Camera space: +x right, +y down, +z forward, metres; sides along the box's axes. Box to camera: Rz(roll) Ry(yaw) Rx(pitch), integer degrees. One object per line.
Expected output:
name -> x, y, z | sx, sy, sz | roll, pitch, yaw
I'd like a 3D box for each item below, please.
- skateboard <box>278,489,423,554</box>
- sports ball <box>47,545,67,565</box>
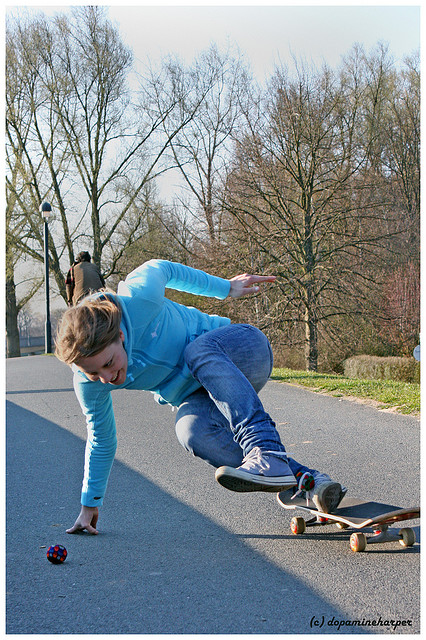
skateboard -> 0.719, 1.023, 3.438 | 0.323, 0.225, 0.845 | 0, -4, -29
sports ball -> -0.768, 1.165, 3.172 | 0.094, 0.086, 0.088 | 0, 1, 0
